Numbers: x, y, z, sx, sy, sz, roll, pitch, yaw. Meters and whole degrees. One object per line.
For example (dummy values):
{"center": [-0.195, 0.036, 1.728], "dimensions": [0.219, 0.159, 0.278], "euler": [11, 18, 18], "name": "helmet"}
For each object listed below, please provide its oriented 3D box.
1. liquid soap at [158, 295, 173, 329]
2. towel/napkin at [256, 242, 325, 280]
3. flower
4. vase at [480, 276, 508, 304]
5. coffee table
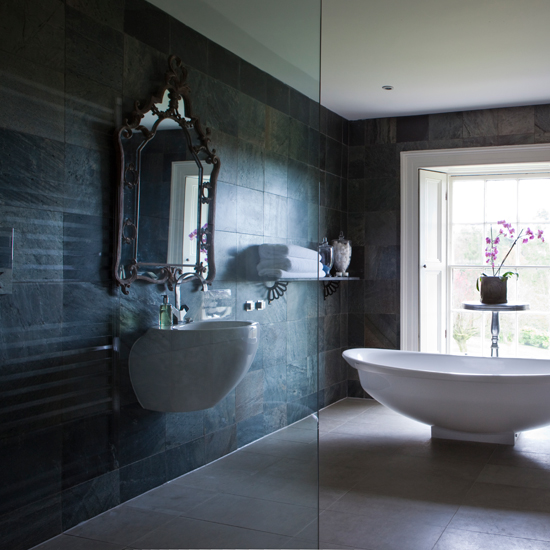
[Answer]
{"center": [-0.263, 0.089, 1.148], "dimensions": [0.032, 0.082, 0.029], "euler": [0, -2, -15], "name": "liquid soap"}
{"center": [0.041, -0.038, 1.256], "dimensions": [0.087, 0.061, 0.130], "euler": [3, 3, 37], "name": "towel/napkin"}
{"center": [2.450, -0.213, 4.923], "dimensions": [0.572, 1.085, 0.444], "euler": [5, 4, 28], "name": "flower"}
{"center": [1.917, 0.138, 4.188], "dimensions": [0.228, 0.234, 0.189], "euler": [0, 0, 29], "name": "vase"}
{"center": [1.903, 0.476, 4.247], "dimensions": [0.467, 0.590, 0.499], "euler": [2, 3, 10], "name": "coffee table"}
